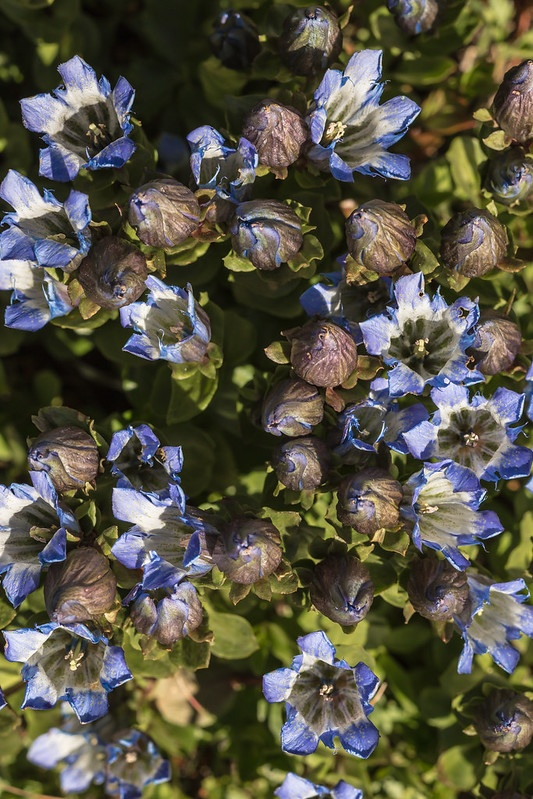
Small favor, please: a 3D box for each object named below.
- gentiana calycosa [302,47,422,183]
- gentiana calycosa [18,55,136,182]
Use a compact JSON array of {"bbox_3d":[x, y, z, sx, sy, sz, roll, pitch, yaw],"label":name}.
[{"bbox_3d":[0.189,-0.576,1.676,0.227,0.188,0.286,-15,73,-4],"label":"gentiana calycosa"},{"bbox_3d":[-0.371,-0.536,1.741,0.230,0.305,0.230,-10,73,-2],"label":"gentiana calycosa"}]
